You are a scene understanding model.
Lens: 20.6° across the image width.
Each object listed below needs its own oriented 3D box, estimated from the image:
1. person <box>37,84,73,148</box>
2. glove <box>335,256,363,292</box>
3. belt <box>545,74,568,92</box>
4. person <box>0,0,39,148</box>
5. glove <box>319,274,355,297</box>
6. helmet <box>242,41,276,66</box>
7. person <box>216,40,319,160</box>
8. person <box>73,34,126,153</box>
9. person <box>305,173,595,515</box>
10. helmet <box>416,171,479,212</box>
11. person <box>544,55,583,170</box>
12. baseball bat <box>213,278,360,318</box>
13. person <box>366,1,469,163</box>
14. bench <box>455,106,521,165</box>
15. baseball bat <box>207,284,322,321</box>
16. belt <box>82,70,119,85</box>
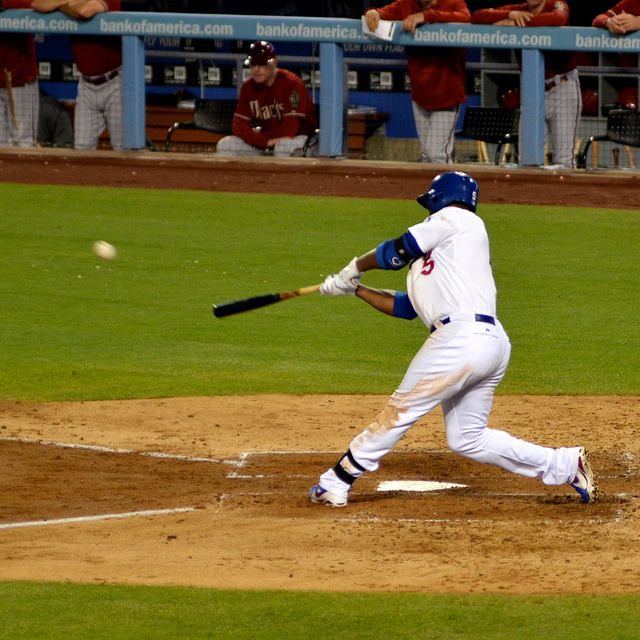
[{"bbox_3d":[-2.521,-1.926,16.951,0.328,0.560,1.046,1,4,-9],"label":"person"},{"bbox_3d":[0.190,-0.253,10.105,0.120,0.194,0.166,-1,5,-33],"label":"glove"},{"bbox_3d":[1.998,-1.964,14.733,0.170,0.053,0.122,-29,-4,12],"label":"belt"},{"bbox_3d":[-2.679,-2.053,15.855,0.308,1.007,0.599,2,4,-8],"label":"person"},{"bbox_3d":[0.114,-0.204,10.198,0.177,0.071,0.115,4,-22,12],"label":"glove"},{"bbox_3d":[-0.478,-2.274,15.085,0.237,0.221,0.366,2,4,-1],"label":"helmet"},{"bbox_3d":[-0.403,-1.899,15.315,0.812,0.970,0.769,2,4,1],"label":"person"},{"bbox_3d":[-1.920,-1.996,15.668,0.444,0.980,0.705,2,4,-8],"label":"person"},{"bbox_3d":[0.738,0.138,9.815,1.557,1.900,0.598,2,4,3],"label":"person"},{"bbox_3d":[0.725,-0.722,9.953,0.383,0.229,0.260,3,-2,31],"label":"helmet"},{"bbox_3d":[2.078,-1.745,14.901,0.283,0.924,0.455,3,4,7],"label":"person"},{"bbox_3d":[-0.247,-0.155,12.470,0.814,0.096,0.070,-17,-40,7],"label":"baseball bat"},{"bbox_3d":[0.876,-2.008,14.923,0.743,1.344,0.814,2,4,1],"label":"person"},{"bbox_3d":[1.671,-1.591,15.419,0.386,0.534,0.579,-6,15,-38],"label":"bench"},{"bbox_3d":[-0.409,-0.122,12.593,0.926,0.190,0.091,-10,-13,5],"label":"baseball bat"},{"bbox_3d":[-1.891,-2.099,15.440,0.168,0.065,0.169,-21,5,-17],"label":"belt"}]
